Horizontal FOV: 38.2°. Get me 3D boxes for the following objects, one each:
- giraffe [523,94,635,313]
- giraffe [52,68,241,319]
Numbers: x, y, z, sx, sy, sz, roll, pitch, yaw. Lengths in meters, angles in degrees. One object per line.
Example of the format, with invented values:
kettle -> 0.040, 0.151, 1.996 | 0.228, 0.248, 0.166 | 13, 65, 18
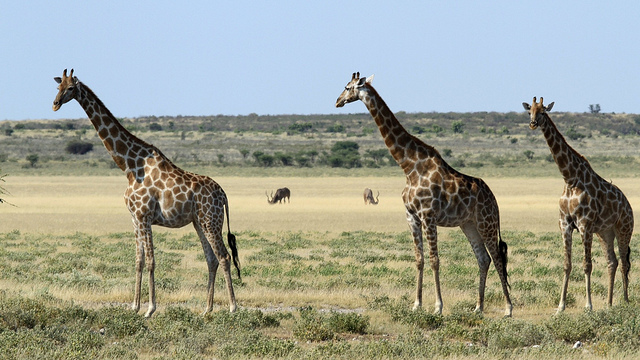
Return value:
giraffe -> 14.281, 1.436, 51.658 | 4.351, 13.545, 3.822 | -2, 2, 24
giraffe -> -6.238, 0.446, 35.462 | 3.650, 9.340, 10.592 | -4, 5, -31
